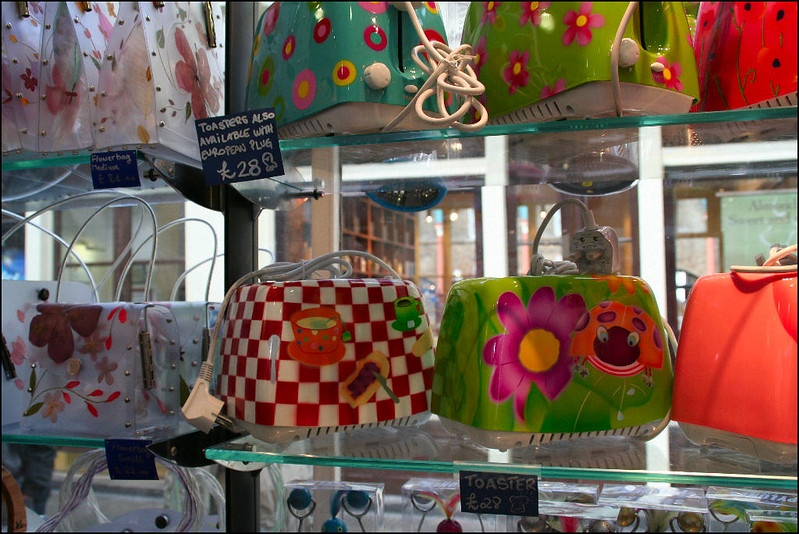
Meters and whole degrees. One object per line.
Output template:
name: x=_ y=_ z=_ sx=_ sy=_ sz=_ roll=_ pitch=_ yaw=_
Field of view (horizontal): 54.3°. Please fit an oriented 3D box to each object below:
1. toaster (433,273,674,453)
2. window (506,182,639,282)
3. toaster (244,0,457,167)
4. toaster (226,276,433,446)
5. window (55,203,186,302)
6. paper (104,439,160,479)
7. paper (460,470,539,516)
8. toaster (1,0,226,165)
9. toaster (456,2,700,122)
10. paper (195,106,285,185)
toaster: x=0.252 y=0.143 z=1.293 sx=0.427 sy=0.317 sz=0.247 roll=0 pitch=-2 yaw=-10
window: x=0.331 y=-0.062 z=1.528 sx=0.210 sy=0.212 sz=0.523 roll=-2 pitch=-7 yaw=16
toaster: x=-0.084 y=-0.277 z=1.275 sx=0.259 sy=0.204 sz=0.271 roll=-1 pitch=0 yaw=38
toaster: x=-0.113 y=0.159 z=1.363 sx=0.365 sy=0.278 sz=0.207 roll=1 pitch=-1 yaw=-35
window: x=-0.736 y=-0.045 z=2.089 sx=0.263 sy=0.201 sz=0.022 roll=4 pitch=8 yaw=26
paper: x=-0.463 y=0.336 z=1.359 sx=0.072 sy=0.057 sz=0.011 roll=0 pitch=2 yaw=11
paper: x=0.155 y=0.354 z=1.213 sx=0.120 sy=0.072 sz=0.027 roll=-1 pitch=-6 yaw=5
toaster: x=-0.498 y=-0.263 z=1.498 sx=0.287 sy=0.376 sz=0.378 roll=-1 pitch=0 yaw=25
toaster: x=0.274 y=-0.312 z=1.217 sx=0.307 sy=0.205 sz=0.172 roll=-3 pitch=2 yaw=34
paper: x=-0.261 y=-0.196 z=1.273 sx=0.133 sy=0.117 sz=0.009 roll=-8 pitch=-10 yaw=3
